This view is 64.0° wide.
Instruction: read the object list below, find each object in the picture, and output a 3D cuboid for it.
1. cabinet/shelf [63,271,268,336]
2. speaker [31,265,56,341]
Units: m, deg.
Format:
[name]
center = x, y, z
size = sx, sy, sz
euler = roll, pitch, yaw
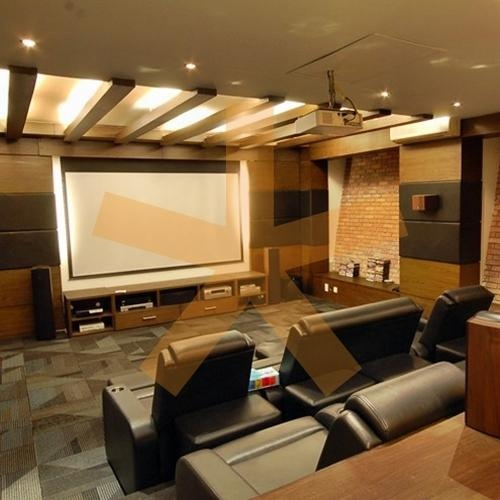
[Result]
[cabinet/shelf]
center = -1.150, 0.765, 6.237
size = 2.971, 0.600, 0.590
euler = -5, 9, -28
[speaker]
center = -2.726, 0.706, 5.294
size = 0.268, 0.959, 0.186
euler = -11, 10, -41
